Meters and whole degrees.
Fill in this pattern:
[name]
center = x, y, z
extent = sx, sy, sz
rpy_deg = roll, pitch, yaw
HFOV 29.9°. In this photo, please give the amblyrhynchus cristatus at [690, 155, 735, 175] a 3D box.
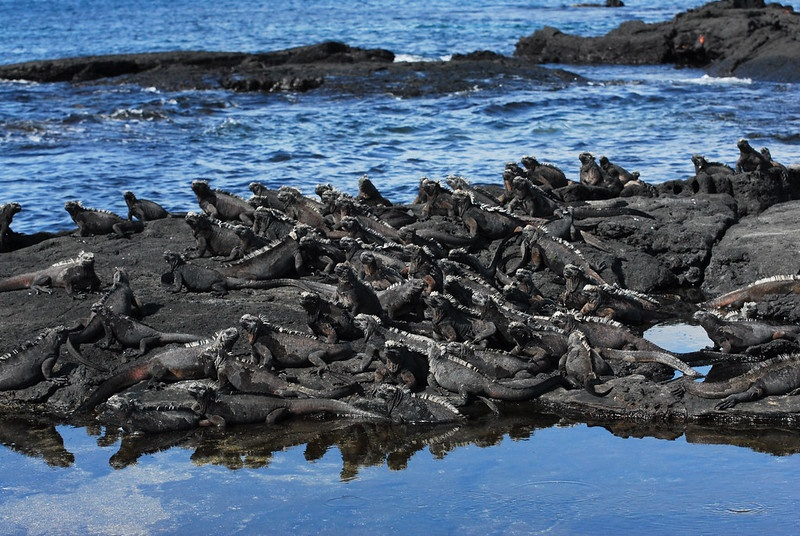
[amblyrhynchus cristatus]
center = 10.368, -3.379, 49.677
extent = 1.346, 0.548, 0.994
rpy_deg = 3, 13, 7
